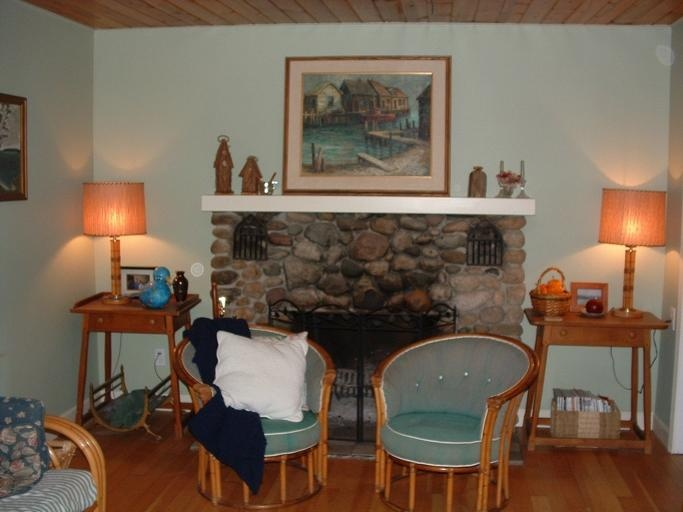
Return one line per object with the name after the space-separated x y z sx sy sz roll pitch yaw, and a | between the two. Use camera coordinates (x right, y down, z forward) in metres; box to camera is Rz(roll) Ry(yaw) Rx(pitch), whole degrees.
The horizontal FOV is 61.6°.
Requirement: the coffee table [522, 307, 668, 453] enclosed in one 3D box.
1.857 0.924 4.347 0.938 0.905 0.658 3 -1 9 | coffee table

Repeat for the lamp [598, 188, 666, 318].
2.121 -0.022 4.201 0.458 0.936 0.371 5 15 17 | lamp

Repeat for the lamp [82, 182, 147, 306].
-1.736 -0.128 4.455 0.463 0.894 0.370 -8 16 -27 | lamp

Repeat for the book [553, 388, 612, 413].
1.741 1.068 4.202 0.261 0.087 0.207 0 2 -12 | book

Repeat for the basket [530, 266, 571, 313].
1.518 0.248 4.312 0.354 0.410 0.341 0 0 -3 | basket

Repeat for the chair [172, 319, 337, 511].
-0.607 0.982 3.834 1.008 0.895 1.000 -2 7 -28 | chair

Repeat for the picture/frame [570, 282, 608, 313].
1.898 0.323 4.388 0.221 0.190 0.015 -1 -1 2 | picture/frame

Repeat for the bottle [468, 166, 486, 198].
1.026 -0.561 4.311 0.130 0.219 0.160 3 15 9 | bottle

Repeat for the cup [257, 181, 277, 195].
-0.575 -0.534 4.466 0.126 0.085 0.094 2 0 2 | cup

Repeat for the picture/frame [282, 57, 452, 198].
0.255 -1.020 4.444 1.119 0.930 0.051 1 -2 0 | picture/frame

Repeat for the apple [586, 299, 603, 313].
1.852 0.371 4.185 0.114 0.076 0.086 -4 -1 35 | apple
